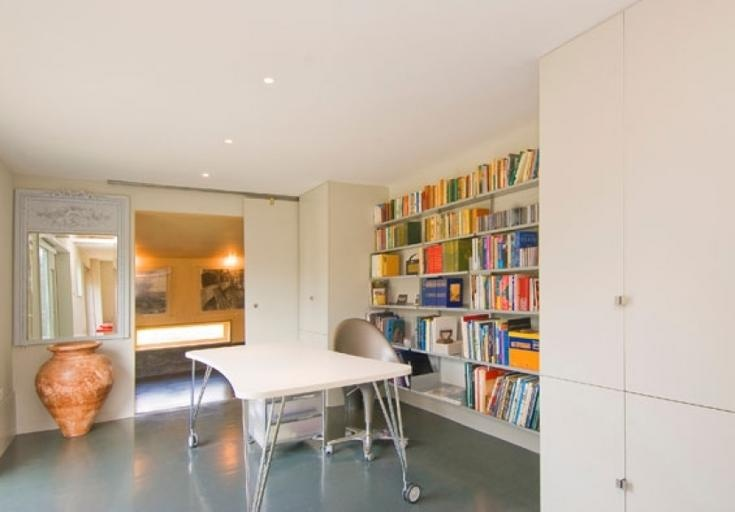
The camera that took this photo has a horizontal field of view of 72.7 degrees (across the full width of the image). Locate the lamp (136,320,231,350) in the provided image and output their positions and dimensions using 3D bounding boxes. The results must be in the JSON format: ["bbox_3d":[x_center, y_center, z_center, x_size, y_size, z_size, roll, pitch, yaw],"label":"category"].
[{"bbox_3d":[-3.501,1.499,9.424,2.553,0.560,0.352,4,-9,-39],"label":"lamp"}]

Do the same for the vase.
[{"bbox_3d":[-3.267,1.475,5.593,0.829,0.978,0.789,1,0,-35],"label":"vase"}]

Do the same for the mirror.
[{"bbox_3d":[-3.381,0.134,5.761,1.204,1.741,0.091,2,-3,-25],"label":"mirror"}]

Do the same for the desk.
[{"bbox_3d":[-0.613,1.390,4.295,1.522,1.079,1.790,2,-4,-30],"label":"desk"}]
